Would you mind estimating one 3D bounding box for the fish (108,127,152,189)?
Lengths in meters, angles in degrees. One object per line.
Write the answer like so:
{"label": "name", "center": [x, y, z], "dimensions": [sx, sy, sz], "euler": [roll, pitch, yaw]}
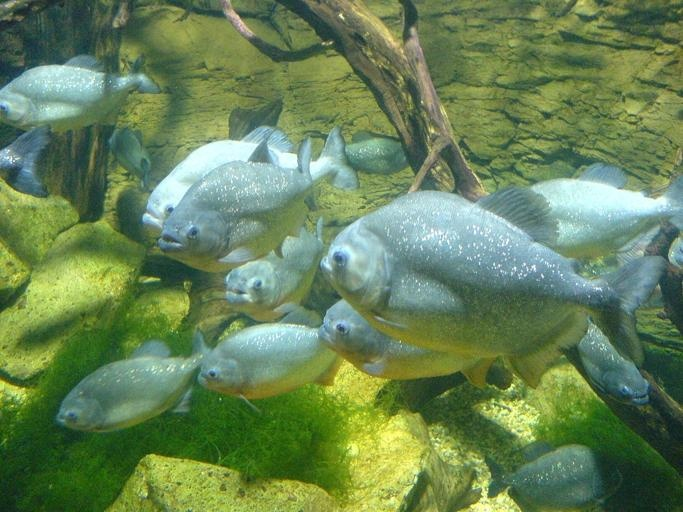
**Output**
{"label": "fish", "center": [-1.939, -0.885, 6.718], "dimensions": [0.195, 0.303, 0.650], "euler": [-25, 64, -42]}
